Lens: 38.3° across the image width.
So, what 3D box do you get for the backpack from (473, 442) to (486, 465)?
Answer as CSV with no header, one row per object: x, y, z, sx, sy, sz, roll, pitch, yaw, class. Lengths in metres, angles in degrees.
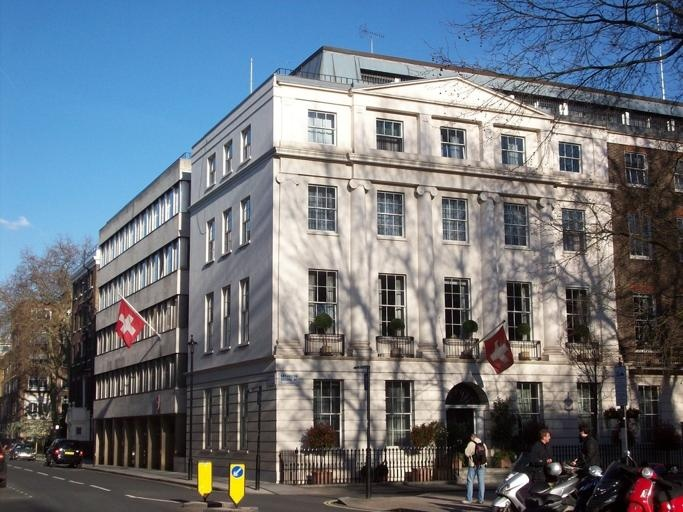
5.588,7.977,39.962,0.565,0.900,0.414,18,-25,-42,backpack

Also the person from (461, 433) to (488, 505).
5.321,8.519,40.030,0.933,3.313,1.169,-4,-12,21,person

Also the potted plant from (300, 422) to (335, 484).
-1.085,9.770,48.857,1.548,2.990,0.960,-2,-18,1,potted plant
